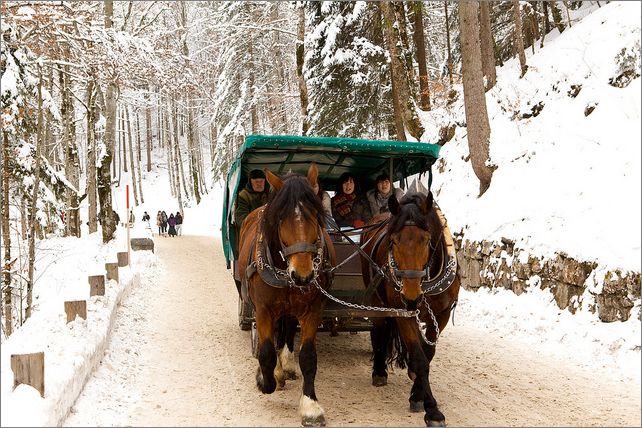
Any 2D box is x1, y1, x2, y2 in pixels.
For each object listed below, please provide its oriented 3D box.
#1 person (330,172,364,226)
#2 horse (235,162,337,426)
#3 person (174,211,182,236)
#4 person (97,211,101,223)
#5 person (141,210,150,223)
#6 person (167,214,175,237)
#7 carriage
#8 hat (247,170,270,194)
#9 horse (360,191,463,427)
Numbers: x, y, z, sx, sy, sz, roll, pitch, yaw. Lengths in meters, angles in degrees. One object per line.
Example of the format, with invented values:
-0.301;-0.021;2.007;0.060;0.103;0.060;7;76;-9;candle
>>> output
0.646;-0.357;15.368;0.724;1.418;0.382;-2;7;-7;person
-0.704;1.484;12.869;1.594;5.151;3.003;-8;16;-32;horse
-9.380;0.631;39.017;0.364;1.499;0.964;-3;14;-13;person
-14.009;0.225;37.532;0.179;0.838;0.197;-11;22;-32;person
-14.093;0.220;47.783;0.844;0.543;1.510;-17;14;-8;person
-9.591;0.697;38.179;0.480;1.443;0.963;-4;14;-15;person
-0.272;0.775;17.042;6.627;5.663;4.890;1;2;-17;carriage
-1.650;-0.829;15.371;0.361;0.638;0.575;-1;-13;-8;hat
1.925;1.825;12.857;1.313;4.543;2.687;-9;16;-33;horse
